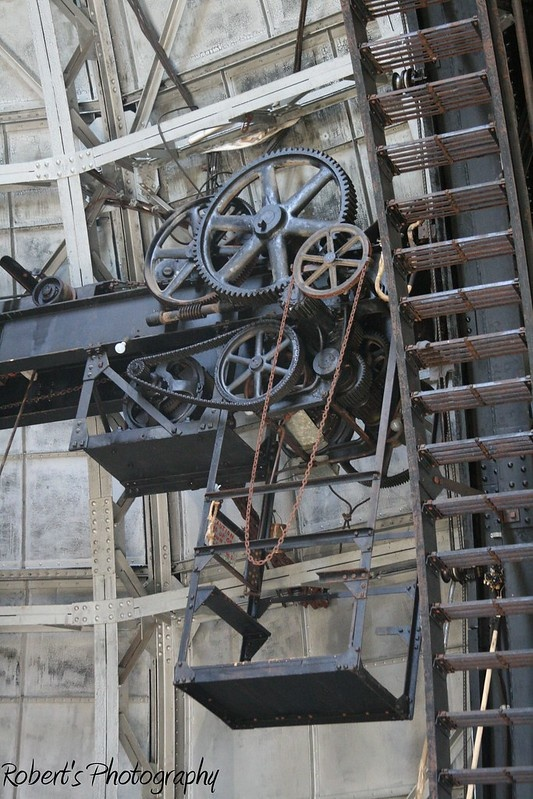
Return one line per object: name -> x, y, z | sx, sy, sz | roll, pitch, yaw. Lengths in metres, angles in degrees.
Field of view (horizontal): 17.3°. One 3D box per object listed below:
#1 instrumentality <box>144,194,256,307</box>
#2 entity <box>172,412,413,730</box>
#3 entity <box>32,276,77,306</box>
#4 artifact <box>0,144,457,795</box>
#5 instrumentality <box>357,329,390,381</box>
instrumentality -> -0.729, -1.045, 17.035 | 1.153, 1.225, 0.285 | -26, -30, 28
entity -> 0.161, 1.252, 14.781 | 1.530, 2.913, 1.055 | -2, 8, 1
entity -> -2.153, -1.057, 17.734 | 0.320, 0.350, 0.232 | 5, -4, 25
artifact -> -0.283, 0.685, 17.483 | 6.274, 5.773, 2.653 | -8, -30, 21
instrumentality -> 0.987, -0.391, 15.984 | 0.119, 0.363, 0.380 | -2, -51, 18
